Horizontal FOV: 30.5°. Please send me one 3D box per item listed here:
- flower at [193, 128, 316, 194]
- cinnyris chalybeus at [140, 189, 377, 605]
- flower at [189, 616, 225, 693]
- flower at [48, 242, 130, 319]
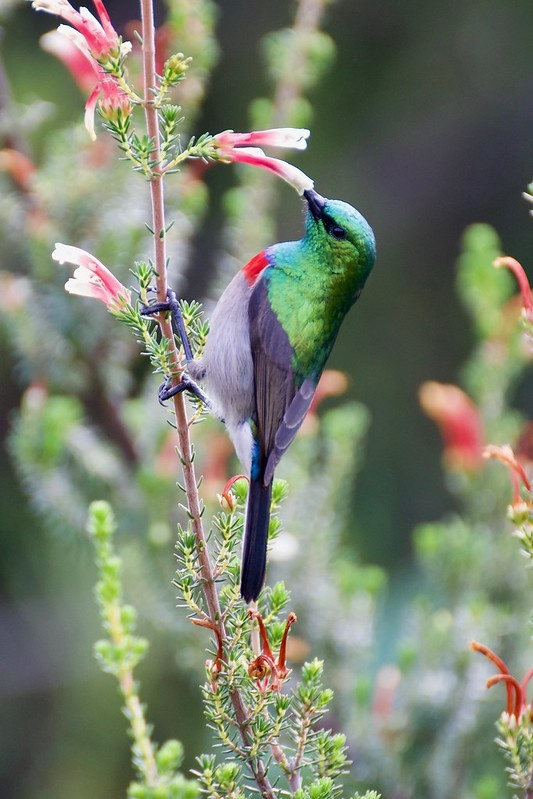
[{"bbox_3d":[-0.006,-0.359,1.389,0.185,0.117,0.070,24,-68,47],"label":"flower"},{"bbox_3d":[0.069,0.018,1.952,0.558,0.869,0.272,-8,-24,26],"label":"cinnyris chalybeus"},{"bbox_3d":[-0.074,0.335,1.296,0.043,0.013,0.104,3,-70,14],"label":"flower"},{"bbox_3d":[-0.232,-0.172,1.400,0.120,0.041,0.092,30,-38,21],"label":"flower"}]
